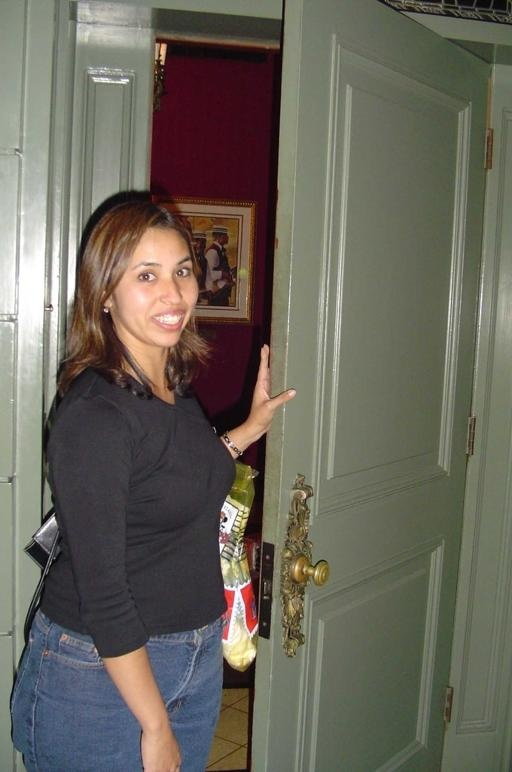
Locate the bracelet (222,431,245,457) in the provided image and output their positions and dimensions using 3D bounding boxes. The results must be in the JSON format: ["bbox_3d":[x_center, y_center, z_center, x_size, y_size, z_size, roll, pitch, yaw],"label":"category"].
[{"bbox_3d":[-0.052,0.124,1.370,0.015,0.053,0.049,-36,48,-3],"label":"bracelet"}]
